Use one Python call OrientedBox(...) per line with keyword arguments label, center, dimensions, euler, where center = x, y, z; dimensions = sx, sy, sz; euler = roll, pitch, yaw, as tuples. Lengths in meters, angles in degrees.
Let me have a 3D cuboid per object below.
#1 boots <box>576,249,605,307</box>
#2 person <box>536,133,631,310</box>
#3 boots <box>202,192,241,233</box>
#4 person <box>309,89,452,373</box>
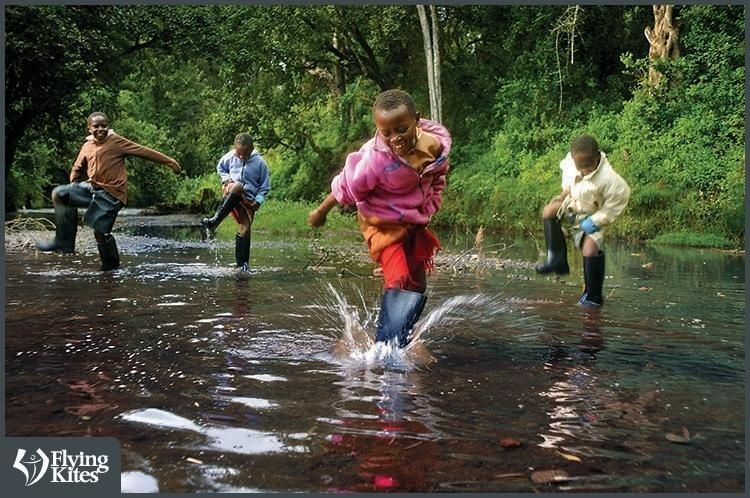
OrientedBox(label="boots", center=(2.727, 0.343, 8.071), dimensions=(0.284, 0.662, 0.330), euler=(4, 11, 18))
OrientedBox(label="person", center=(2.611, -0.376, 8.097), dimensions=(1.011, 2.065, 0.553), euler=(5, 11, 20))
OrientedBox(label="boots", center=(-2.524, -0.609, 10.583), dimensions=(0.624, 0.706, 1.041), euler=(-2, 11, -14))
OrientedBox(label="person", center=(0.136, -0.281, 6.202), dimensions=(1.214, 2.459, 0.885), euler=(1, 11, -2))
